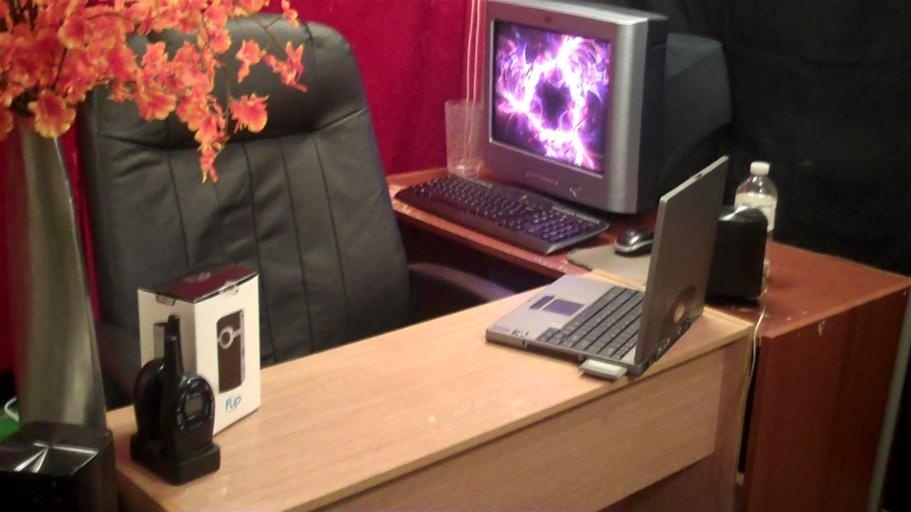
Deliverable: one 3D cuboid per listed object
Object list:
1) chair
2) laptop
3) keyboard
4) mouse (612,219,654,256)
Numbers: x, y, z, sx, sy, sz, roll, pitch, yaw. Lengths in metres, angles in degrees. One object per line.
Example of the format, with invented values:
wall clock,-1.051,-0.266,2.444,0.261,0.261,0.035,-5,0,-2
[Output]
chair,-0.567,-0.234,2.434,1.036,1.272,1.075,-16,15,-30
laptop,0.307,0.080,1.728,0.497,0.454,0.612,17,31,31
keyboard,0.160,-0.138,2.163,0.548,0.072,0.248,23,50,36
mouse,0.506,-0.046,2.001,0.116,0.039,0.065,-13,19,-43
